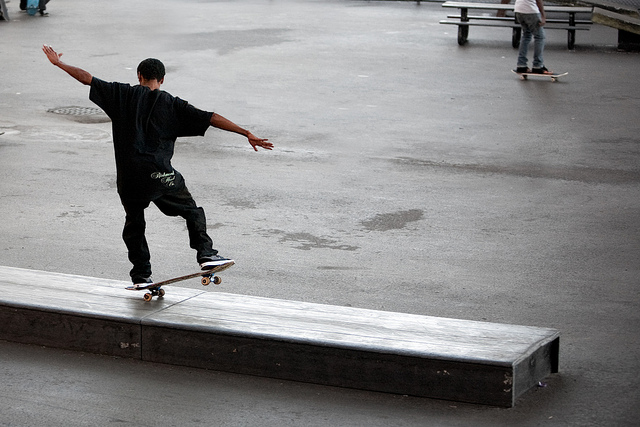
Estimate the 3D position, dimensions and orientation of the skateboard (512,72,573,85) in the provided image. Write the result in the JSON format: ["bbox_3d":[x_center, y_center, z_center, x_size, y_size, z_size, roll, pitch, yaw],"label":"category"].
[{"bbox_3d":[4.628,-2.834,19.931,1.442,0.172,0.391,3,19,2],"label":"skateboard"}]

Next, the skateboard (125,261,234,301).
[{"bbox_3d":[-1.422,0.718,10.367,1.819,0.183,0.318,-10,2,0],"label":"skateboard"}]

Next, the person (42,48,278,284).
[{"bbox_3d":[-1.786,-0.422,10.383,1.684,2.424,0.779,0,18,-2],"label":"person"}]
